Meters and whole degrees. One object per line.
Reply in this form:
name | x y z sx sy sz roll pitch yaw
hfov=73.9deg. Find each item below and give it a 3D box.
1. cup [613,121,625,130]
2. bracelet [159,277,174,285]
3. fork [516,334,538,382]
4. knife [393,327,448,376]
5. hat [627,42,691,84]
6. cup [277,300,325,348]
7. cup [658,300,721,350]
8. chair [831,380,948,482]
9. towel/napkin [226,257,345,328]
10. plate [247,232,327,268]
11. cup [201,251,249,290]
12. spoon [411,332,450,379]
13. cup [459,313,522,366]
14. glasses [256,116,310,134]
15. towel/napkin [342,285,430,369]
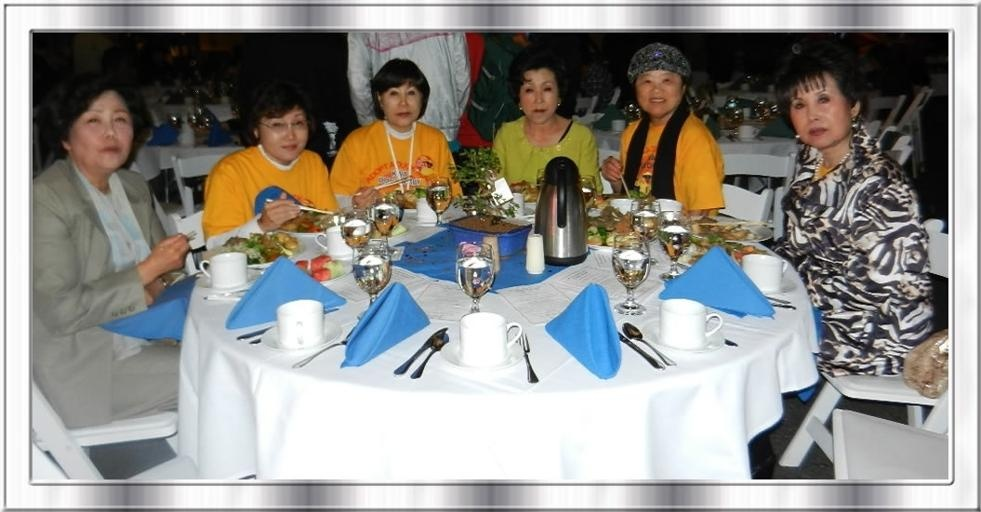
cup | 1.250 -1.270 6.326 0.114 0.066 0.101 4 13 11
bracelet | -1.773 0.136 3.566 0.050 0.039 0.042 -4 14 7
fork | 0.138 0.379 2.456 0.044 0.033 0.215 6 41 -15
knife | -0.250 0.362 2.491 0.083 0.033 0.309 14 39 27
hat | 1.126 -1.370 4.452 0.469 0.141 0.459 3 28 17
cup | -0.736 0.260 2.535 0.211 0.124 0.179 1 9 15
cup | 0.756 0.265 2.555 0.270 0.129 0.179 4 12 15
chair | 1.631 0.786 2.675 0.402 0.196 0.283 3 12 23
towel/napkin | -0.890 0.158 2.666 0.432 0.121 0.329 1 18 0
plate | -1.060 -0.047 3.201 0.251 0.065 0.235 8 15 25
cup | -1.188 0.066 2.951 0.231 0.126 0.154 -3 12 -15
spoon | -0.229 0.375 2.479 0.075 0.031 0.288 20 41 13
cup | -0.025 0.317 2.452 0.271 0.132 0.174 0 8 -7
glasses | -1.283 -0.823 4.045 0.333 0.110 0.148 -4 11 -16
towel/napkin | -0.450 0.240 2.553 0.309 0.168 0.377 28 42 17
